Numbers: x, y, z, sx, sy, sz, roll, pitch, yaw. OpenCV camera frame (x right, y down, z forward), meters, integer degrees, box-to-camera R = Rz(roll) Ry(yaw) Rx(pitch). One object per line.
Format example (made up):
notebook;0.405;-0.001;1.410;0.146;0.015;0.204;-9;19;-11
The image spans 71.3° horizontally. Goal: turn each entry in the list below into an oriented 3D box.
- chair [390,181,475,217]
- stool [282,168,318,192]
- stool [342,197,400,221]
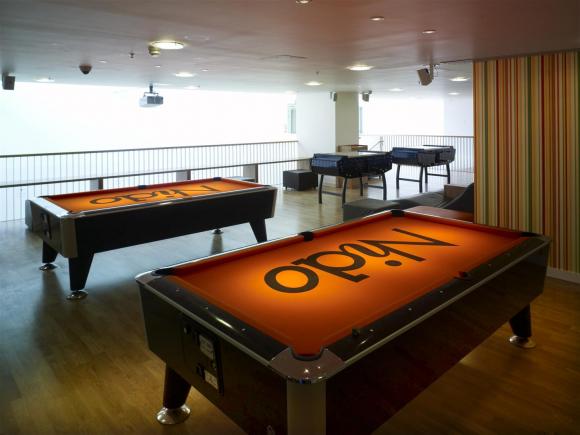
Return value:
chair;2.321;-0.239;5.968;0.724;0.358;0.686;0;2;-29
stool;0.258;-0.925;9.939;0.685;0.390;0.655;-5;8;-40
stool;1.143;-0.199;5.590;0.514;0.319;0.522;9;13;43
